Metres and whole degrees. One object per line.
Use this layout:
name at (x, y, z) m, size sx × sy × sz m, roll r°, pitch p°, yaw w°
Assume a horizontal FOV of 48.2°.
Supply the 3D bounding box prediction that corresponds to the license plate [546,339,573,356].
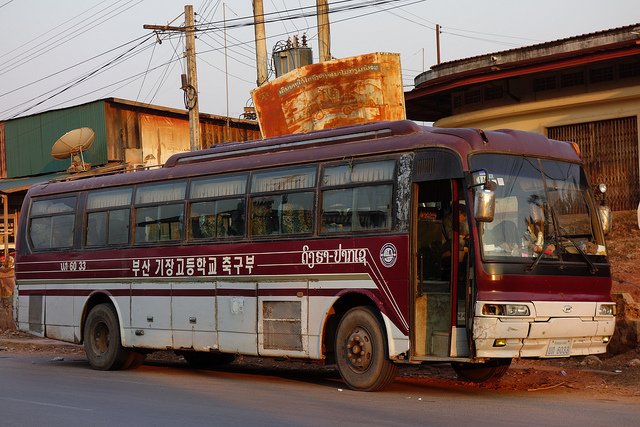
license plate at (4.111, 2.290, 12.282) m, size 0.532 × 0.265 × 0.095 m, roll 2°, pitch -7°, yaw -29°

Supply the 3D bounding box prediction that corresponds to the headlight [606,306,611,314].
headlight at (5.171, 1.728, 12.800) m, size 0.028 × 0.114 × 0.114 m, roll 2°, pitch 3°, yaw -20°

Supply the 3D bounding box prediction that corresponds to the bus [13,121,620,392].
bus at (-1.058, 1.119, 16.274) m, size 12.898 × 4.880 × 4.064 m, roll -4°, pitch -6°, yaw 32°

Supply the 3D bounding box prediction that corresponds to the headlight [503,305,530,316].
headlight at (3.284, 1.613, 11.925) m, size 0.283 × 0.110 × 0.224 m, roll 1°, pitch -1°, yaw -14°

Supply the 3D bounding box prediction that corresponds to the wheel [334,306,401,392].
wheel at (0.842, 2.468, 13.088) m, size 1.175 × 1.542 × 0.318 m, roll -7°, pitch -8°, yaw 37°

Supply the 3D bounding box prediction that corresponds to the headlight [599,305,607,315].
headlight at (5.039, 1.711, 12.716) m, size 0.150 × 0.153 × 0.036 m, roll 4°, pitch -4°, yaw -39°

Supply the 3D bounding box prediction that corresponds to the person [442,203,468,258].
person at (2.404, 0.308, 12.785) m, size 0.412 × 0.955 × 0.762 m, roll -3°, pitch -7°, yaw 8°

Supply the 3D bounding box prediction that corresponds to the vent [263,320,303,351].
vent at (-0.698, 2.334, 13.706) m, size 0.890 × 0.653 × 0.502 m, roll -3°, pitch -4°, yaw 35°
